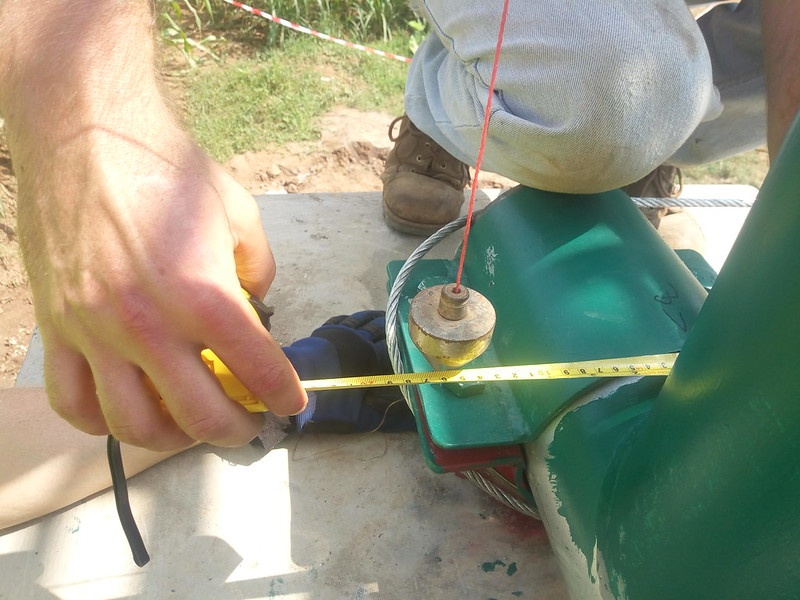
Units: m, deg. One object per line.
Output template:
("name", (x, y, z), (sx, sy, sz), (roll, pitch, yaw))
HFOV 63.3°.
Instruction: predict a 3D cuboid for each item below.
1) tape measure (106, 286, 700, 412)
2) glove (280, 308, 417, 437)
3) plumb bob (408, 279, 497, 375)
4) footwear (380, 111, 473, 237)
("tape measure", (0.080, 0.160, 1.572), (1.041, 0.582, 0.280), (-2, 55, -6))
("glove", (-0.155, 0.160, 1.997), (0.789, 0.254, 0.273), (-2, 39, -8))
("plumb bob", (0.108, 0.087, 1.465), (0.185, 0.343, 0.185), (13, 55, 5))
("footwear", (0.081, -0.470, 2.591), (0.369, 0.446, 0.372), (-1, 34, -1))
